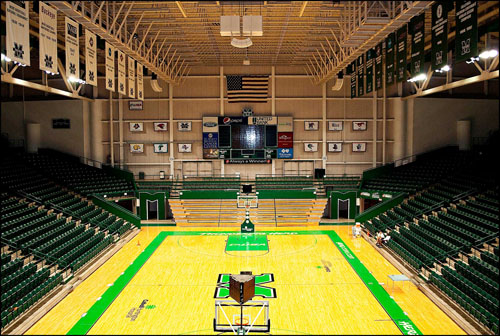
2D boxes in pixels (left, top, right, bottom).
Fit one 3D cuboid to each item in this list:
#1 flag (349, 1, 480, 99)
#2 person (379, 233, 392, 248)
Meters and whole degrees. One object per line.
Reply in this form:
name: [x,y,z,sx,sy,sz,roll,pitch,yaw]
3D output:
flag: [8.010,-5.895,20.756,1.865,2.865,9.445,0,-2,-8]
person: [8.112,4.371,23.742,0.409,0.945,0.571,8,6,-33]
